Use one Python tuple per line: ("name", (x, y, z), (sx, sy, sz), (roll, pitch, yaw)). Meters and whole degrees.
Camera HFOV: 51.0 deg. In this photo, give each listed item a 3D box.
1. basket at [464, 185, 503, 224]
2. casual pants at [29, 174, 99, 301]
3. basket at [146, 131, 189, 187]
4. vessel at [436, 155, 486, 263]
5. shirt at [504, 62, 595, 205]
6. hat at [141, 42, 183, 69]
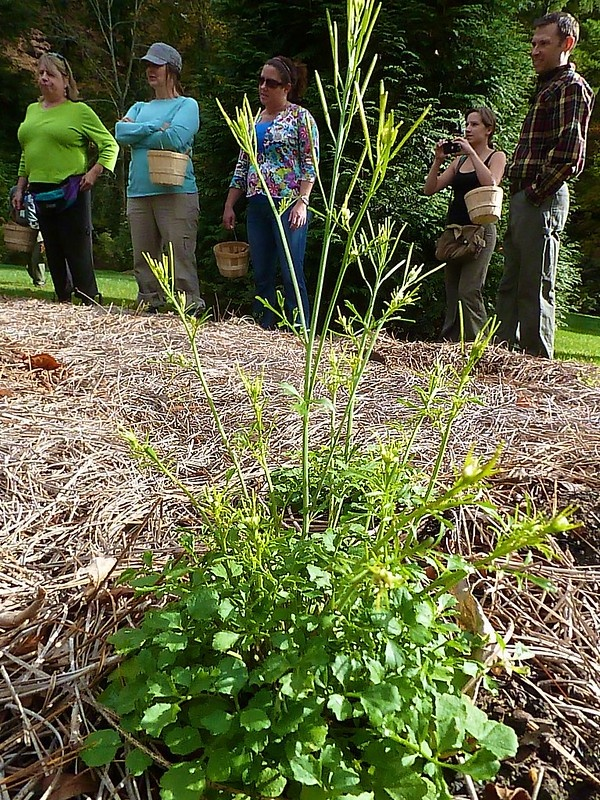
("basket", (0.971, -1.047, 3.379), (0.210, 0.138, 0.201), (-5, 12, -6))
("casual pants", (-1.703, -1.157, 4.610), (0.413, 0.807, 0.267), (-3, 9, 14))
("basket", (-0.760, -1.382, 3.759), (0.188, 0.185, 0.274), (5, 17, 20))
("vessel", (0.954, -1.102, 3.671), (0.263, 0.591, 0.191), (10, 0, 27))
("shirt", (1.368, -1.455, 3.432), (0.332, 0.696, 0.483), (-8, 18, -21))
("hat", (-0.852, -2.135, 3.877), (0.177, 0.156, 0.346), (-2, 16, -2))
